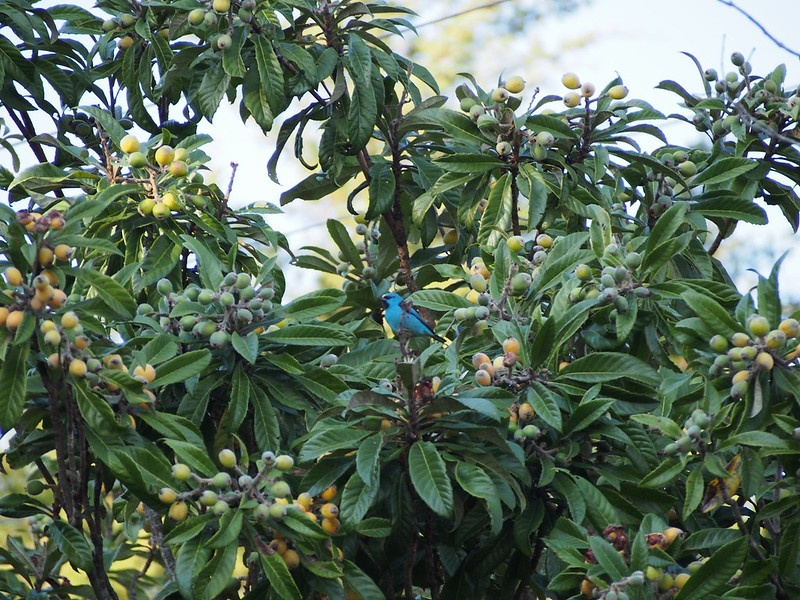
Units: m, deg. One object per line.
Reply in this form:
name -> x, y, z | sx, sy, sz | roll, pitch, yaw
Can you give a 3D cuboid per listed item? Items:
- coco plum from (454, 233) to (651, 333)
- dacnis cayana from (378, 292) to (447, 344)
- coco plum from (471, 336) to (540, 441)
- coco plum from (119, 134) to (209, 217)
coco plum -> 0.694, -0.094, 7.126 | 0.787, 0.622, 0.623 | -2, 4, -34
dacnis cayana -> 0.051, 0.085, 8.800 | 0.409, 0.283, 0.143 | 3, -3, -30
coco plum -> 0.504, 0.420, 6.907 | 0.231, 0.335, 0.476 | -23, -48, 31
coco plum -> -1.116, -0.644, 7.444 | 0.426, 0.440, 0.211 | 24, -46, 19
